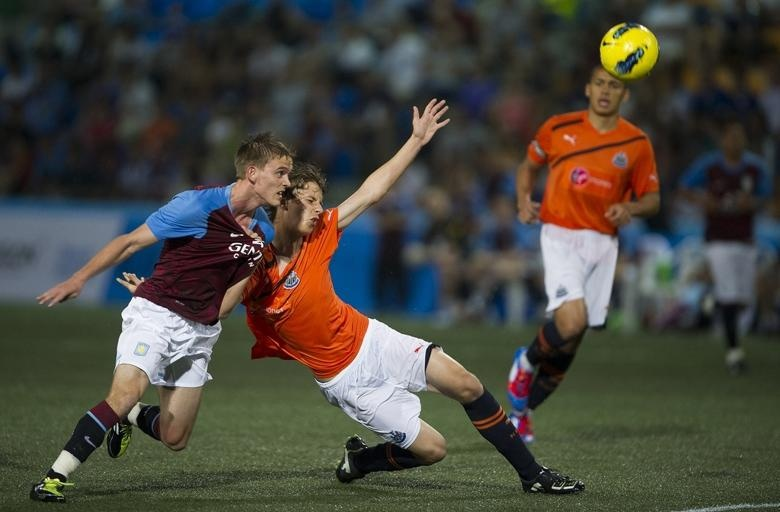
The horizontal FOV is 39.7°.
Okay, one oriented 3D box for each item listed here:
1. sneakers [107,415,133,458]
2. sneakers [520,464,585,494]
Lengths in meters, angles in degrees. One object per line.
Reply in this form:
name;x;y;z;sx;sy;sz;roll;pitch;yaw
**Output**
sneakers;-2.665;1.759;10.808;0.173;0.219;0.511;21;30;-13
sneakers;1.523;2.160;10.377;0.679;0.296;0.231;-1;1;6
